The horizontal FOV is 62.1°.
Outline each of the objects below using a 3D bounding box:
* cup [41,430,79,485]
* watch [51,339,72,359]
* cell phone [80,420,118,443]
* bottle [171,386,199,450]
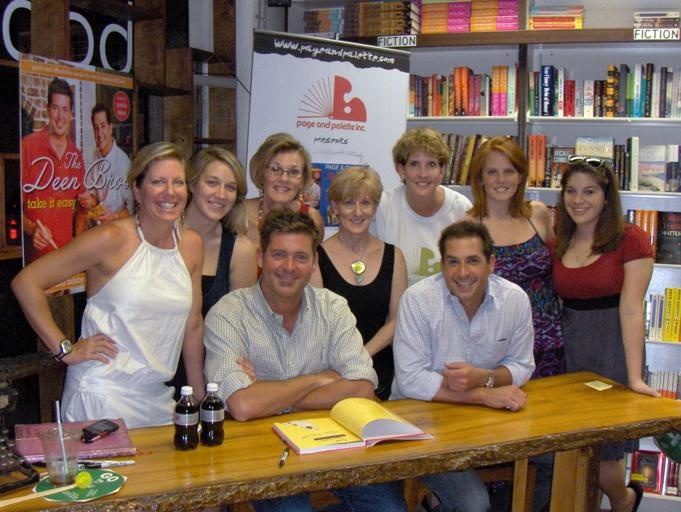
[{"bbox_3d":[-0.921,0.649,1.862,0.107,0.177,0.093,-5,7,-29],"label":"cup"},{"bbox_3d":[-1.178,0.403,2.412,0.032,0.078,0.082,34,26,-27],"label":"watch"},{"bbox_3d":[-0.881,0.630,2.062,0.056,0.022,0.095,14,12,25],"label":"cell phone"},{"bbox_3d":[-0.568,0.572,2.066,0.095,0.249,0.186,-4,6,-16],"label":"bottle"}]
